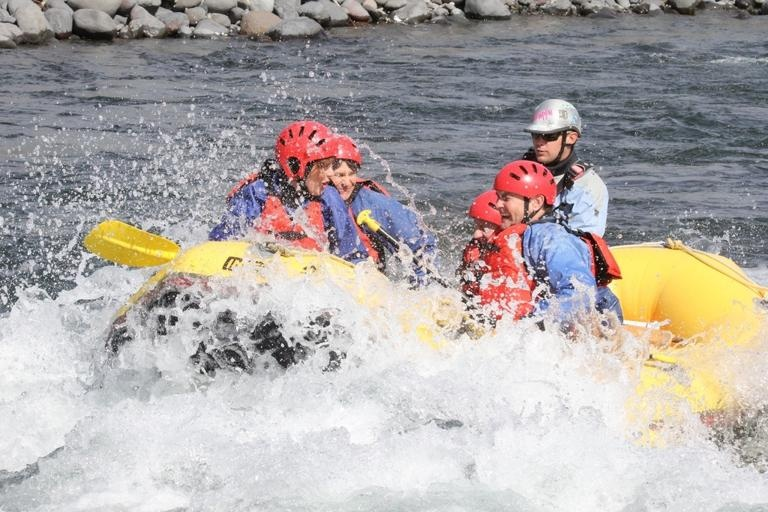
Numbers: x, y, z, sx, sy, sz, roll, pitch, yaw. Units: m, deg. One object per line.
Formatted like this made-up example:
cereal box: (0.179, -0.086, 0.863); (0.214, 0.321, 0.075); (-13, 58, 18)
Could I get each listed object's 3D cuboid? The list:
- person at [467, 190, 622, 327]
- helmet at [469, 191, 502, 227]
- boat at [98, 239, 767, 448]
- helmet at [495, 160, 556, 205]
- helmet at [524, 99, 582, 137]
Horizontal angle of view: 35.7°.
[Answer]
person: (1.619, 0.055, 13.106); (1.403, 0.642, 1.598); (9, 43, -55)
helmet: (1.122, -0.526, 13.140); (0.324, 0.308, 0.430); (25, 26, 37)
boat: (0.477, 0.476, 13.470); (7.581, 1.968, 2.346); (0, 22, 7)
helmet: (1.581, -0.797, 13.199); (0.620, 0.351, 0.444); (30, -8, -14)
helmet: (2.045, -1.653, 14.313); (0.420, 0.271, 0.578); (8, 2, 45)
